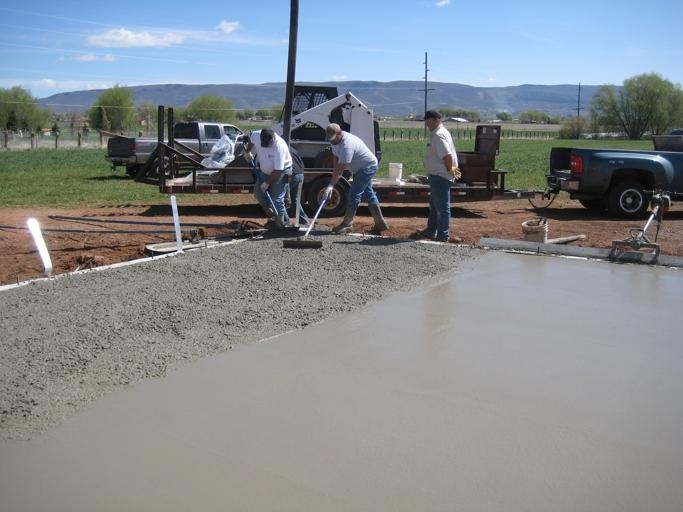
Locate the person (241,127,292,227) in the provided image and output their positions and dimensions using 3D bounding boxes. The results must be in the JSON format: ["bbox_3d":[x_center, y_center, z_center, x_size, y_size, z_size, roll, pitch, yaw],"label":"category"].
[{"bbox_3d":[-1.199,-1.322,8.705,0.711,1.547,1.152,-2,12,-14],"label":"person"}]

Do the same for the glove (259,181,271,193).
[{"bbox_3d":[-1.289,-1.102,8.362,0.151,0.136,0.248,-26,16,-26],"label":"glove"}]

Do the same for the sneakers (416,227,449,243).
[{"bbox_3d":[1.455,-0.348,8.561,0.634,0.288,0.211,-2,2,10],"label":"sneakers"}]

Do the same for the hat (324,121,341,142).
[{"bbox_3d":[-0.118,-2.016,8.326,0.204,0.168,0.293,1,52,3],"label":"hat"}]

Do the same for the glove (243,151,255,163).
[{"bbox_3d":[-1.626,-1.721,9.083,0.261,0.129,0.378,5,6,-9],"label":"glove"}]

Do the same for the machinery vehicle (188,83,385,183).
[{"bbox_3d":[-1.341,-2.747,11.584,4.068,2.135,1.566,-3,10,-15],"label":"machinery vehicle"}]

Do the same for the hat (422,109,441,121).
[{"bbox_3d":[1.417,-2.216,8.246,0.234,0.184,0.318,-5,13,-28],"label":"hat"}]

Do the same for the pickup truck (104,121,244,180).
[{"bbox_3d":[-5.752,-3.764,17.267,4.511,1.812,2.665,-5,12,-16],"label":"pickup truck"}]

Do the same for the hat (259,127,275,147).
[{"bbox_3d":[-1.167,-1.843,8.155,0.193,0.280,0.143,4,-13,-5],"label":"hat"}]

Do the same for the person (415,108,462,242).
[{"bbox_3d":[1.569,-1.280,8.378,0.541,2.093,0.631,-1,12,-8],"label":"person"}]

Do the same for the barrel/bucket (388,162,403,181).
[{"bbox_3d":[1.271,-1.964,12.142,0.302,0.397,0.961,1,12,5],"label":"barrel/bucket"}]
